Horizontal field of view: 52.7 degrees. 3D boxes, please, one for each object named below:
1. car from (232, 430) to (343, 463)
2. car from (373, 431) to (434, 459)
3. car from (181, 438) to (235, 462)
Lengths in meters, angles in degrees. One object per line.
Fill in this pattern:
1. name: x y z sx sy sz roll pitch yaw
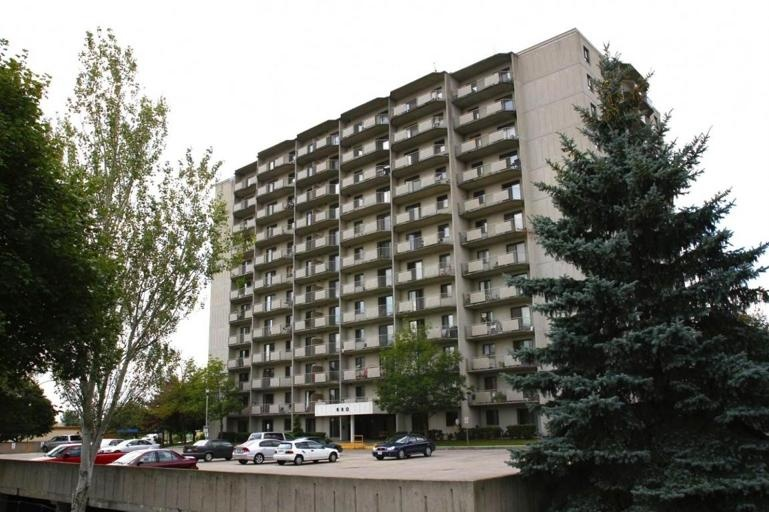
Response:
1. car: -6.262 12.195 49.047 6.460 1.555 3.448 -8 -10 23
2. car: 1.204 11.989 49.232 2.078 1.426 4.235 -12 -12 39
3. car: -11.739 12.942 52.650 1.524 0.996 3.366 -10 -13 43
